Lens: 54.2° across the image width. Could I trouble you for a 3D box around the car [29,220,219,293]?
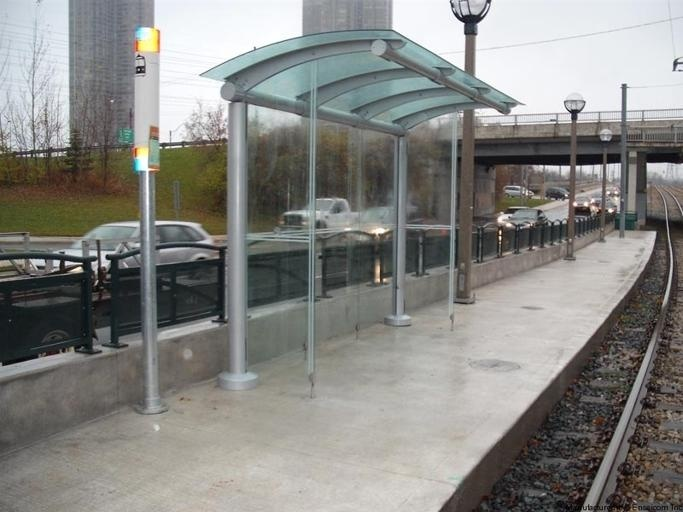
[{"bbox_3d":[-4.007,-0.139,14.030,2.959,1.174,1.359,0,-2,-23],"label":"car"}]
